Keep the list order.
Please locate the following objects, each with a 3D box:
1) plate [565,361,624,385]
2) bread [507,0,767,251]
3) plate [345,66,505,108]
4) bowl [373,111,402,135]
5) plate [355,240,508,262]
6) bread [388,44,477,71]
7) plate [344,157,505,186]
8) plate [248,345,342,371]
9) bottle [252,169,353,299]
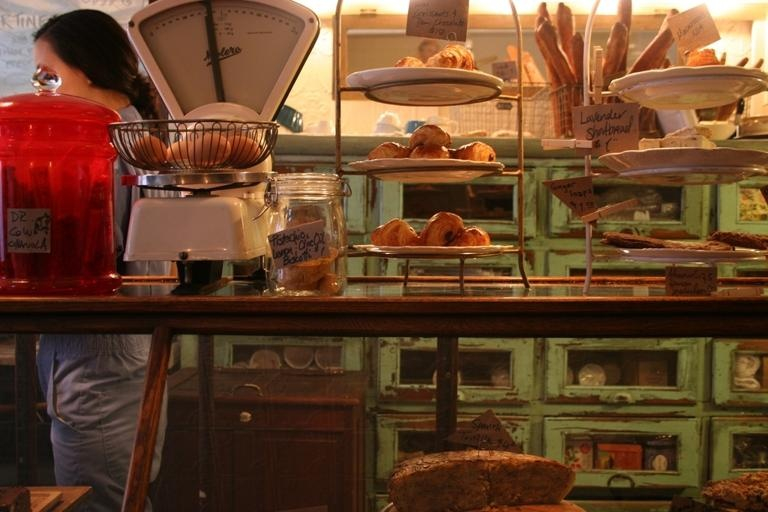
[{"bbox_3d":[0.445,0.254,2.138,0.111,0.050,0.024,-1,1,8],"label":"plate"},{"bbox_3d":[0.738,-0.446,3.057,0.606,0.426,0.640,-1,8,-9],"label":"bread"},{"bbox_3d":[0.093,-0.391,2.333,0.355,0.063,0.244,-1,1,3],"label":"plate"},{"bbox_3d":[0.024,-0.529,4.114,0.126,0.098,0.113,2,-1,-7],"label":"bowl"},{"bbox_3d":[0.108,-0.008,2.315,0.398,0.033,0.182,-1,1,5],"label":"plate"},{"bbox_3d":[0.127,-0.482,2.392,0.164,0.047,0.108,-4,13,1],"label":"bread"},{"bbox_3d":[0.088,-0.200,2.330,0.325,0.044,0.300,-1,1,-19],"label":"plate"},{"bbox_3d":[-0.188,0.221,2.149,0.196,0.056,0.012,-1,1,2],"label":"plate"},{"bbox_3d":[-0.171,-0.046,2.250,0.176,0.269,0.159,-1,1,1],"label":"bottle"}]
